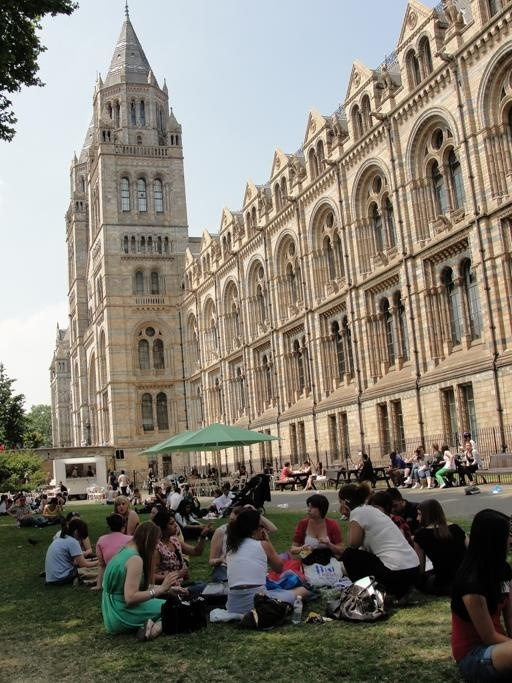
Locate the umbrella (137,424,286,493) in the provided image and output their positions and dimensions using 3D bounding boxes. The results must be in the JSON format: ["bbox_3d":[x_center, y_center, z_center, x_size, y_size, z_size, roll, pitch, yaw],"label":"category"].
[{"bbox_3d":[-1.924,3.612,22.097,3.187,1.104,3.321,-18,-14,35],"label":"umbrella"}]

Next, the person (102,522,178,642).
[{"bbox_3d":[-1.229,2.350,6.065,0.626,1.105,0.557,-4,-11,-3],"label":"person"}]

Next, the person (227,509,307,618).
[{"bbox_3d":[-0.008,2.332,6.585,0.858,0.988,0.912,-7,-14,35],"label":"person"}]

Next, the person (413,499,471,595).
[{"bbox_3d":[1.777,2.033,6.194,0.729,0.844,0.609,-4,1,-1],"label":"person"}]

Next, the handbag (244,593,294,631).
[{"bbox_3d":[0.100,2.683,6.107,0.309,0.262,0.446,-10,-12,30],"label":"handbag"}]

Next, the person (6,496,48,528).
[{"bbox_3d":[-8.607,6.372,23.149,1.097,1.138,2.010,2,-12,-29],"label":"person"}]

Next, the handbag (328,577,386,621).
[{"bbox_3d":[0.990,2.535,6.019,0.497,0.157,0.378,-7,-2,34],"label":"handbag"}]

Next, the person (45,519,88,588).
[{"bbox_3d":[-2.976,3.274,9.660,0.618,0.976,0.587,-1,-11,-17],"label":"person"}]

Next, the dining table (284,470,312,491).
[{"bbox_3d":[2.200,7.193,32.359,1.359,1.098,2.360,4,-18,-10],"label":"dining table"}]

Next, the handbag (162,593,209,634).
[{"bbox_3d":[-0.725,2.650,6.178,0.522,0.329,0.299,3,-18,-18],"label":"handbag"}]

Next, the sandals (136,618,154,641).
[{"bbox_3d":[-1.051,2.762,5.858,0.082,0.083,0.208,4,-3,1],"label":"sandals"}]

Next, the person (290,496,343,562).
[{"bbox_3d":[0.785,2.419,7.713,0.676,0.928,0.627,-2,-8,12],"label":"person"}]

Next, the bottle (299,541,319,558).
[{"bbox_3d":[0.677,2.625,7.791,0.291,0.205,0.129,-32,-62,31],"label":"bottle"}]

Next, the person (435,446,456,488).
[{"bbox_3d":[6.710,4.442,21.742,0.744,1.385,1.271,-7,-11,13],"label":"person"}]

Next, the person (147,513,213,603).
[{"bbox_3d":[-0.958,2.760,7.621,0.818,1.212,0.525,2,-9,-7],"label":"person"}]
